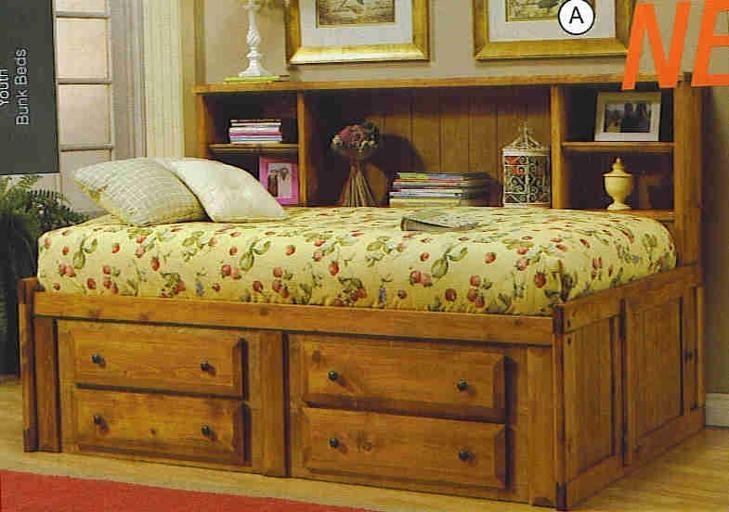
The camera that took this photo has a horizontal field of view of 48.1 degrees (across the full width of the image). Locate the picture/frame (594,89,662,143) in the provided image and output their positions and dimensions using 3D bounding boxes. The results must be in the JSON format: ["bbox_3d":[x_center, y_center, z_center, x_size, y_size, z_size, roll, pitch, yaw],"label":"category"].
[{"bbox_3d":[1.225,-0.639,3.737,0.273,0.209,0.020,7,-1,22],"label":"picture/frame"}]
